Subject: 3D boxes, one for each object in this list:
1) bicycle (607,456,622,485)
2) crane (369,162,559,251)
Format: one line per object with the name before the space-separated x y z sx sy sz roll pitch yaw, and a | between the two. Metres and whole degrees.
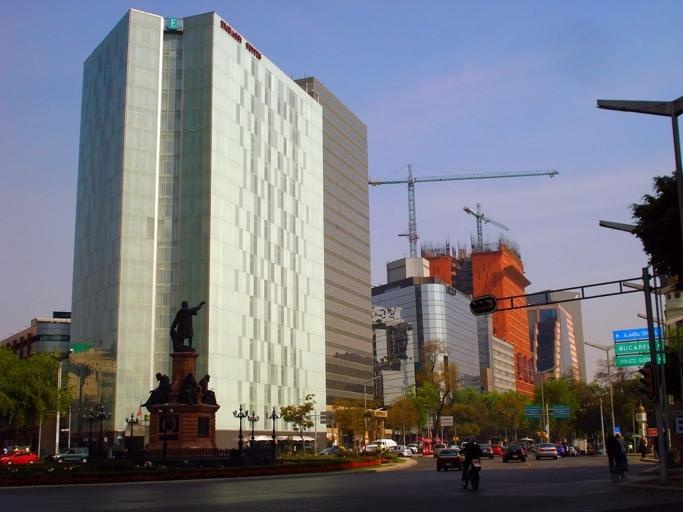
bicycle | 19.154 14.916 59.444 0.999 1.297 2.074 -9 -27 22
crane | 20.153 -7.467 140.329 32.939 17.024 2.879 -3 -9 -1
